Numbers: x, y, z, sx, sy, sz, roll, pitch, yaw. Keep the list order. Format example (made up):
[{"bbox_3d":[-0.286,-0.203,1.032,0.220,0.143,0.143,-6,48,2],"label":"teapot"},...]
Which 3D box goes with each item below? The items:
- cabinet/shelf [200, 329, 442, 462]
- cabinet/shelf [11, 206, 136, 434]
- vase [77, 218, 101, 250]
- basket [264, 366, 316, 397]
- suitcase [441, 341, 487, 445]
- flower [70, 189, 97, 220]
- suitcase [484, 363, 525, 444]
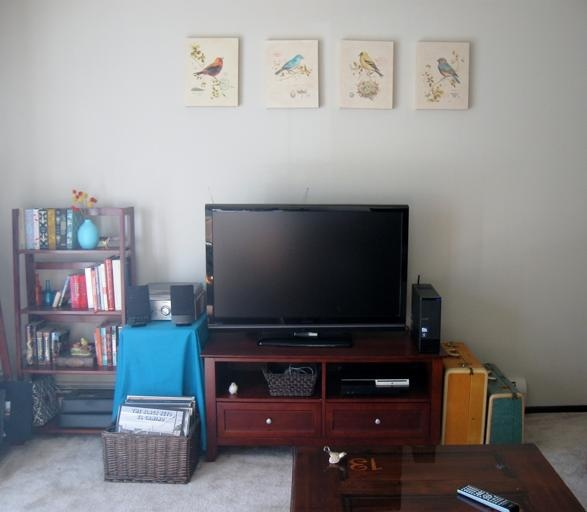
[{"bbox_3d":[0.170,0.819,3.450,1.443,0.642,0.649,0,13,11],"label":"cabinet/shelf"},{"bbox_3d":[-1.429,0.206,3.680,0.539,1.113,0.281,7,0,-22],"label":"cabinet/shelf"},{"bbox_3d":[-1.287,-0.142,3.525,0.161,0.227,0.166,0,-2,17],"label":"vase"},{"bbox_3d":[-0.009,0.751,3.400,0.250,0.115,0.176,0,-1,1],"label":"basket"},{"bbox_3d":[1.002,0.830,3.330,0.177,0.489,0.496,0,6,7],"label":"suitcase"},{"bbox_3d":[-1.355,-0.338,3.637,0.195,0.193,0.101,3,10,7],"label":"flower"},{"bbox_3d":[1.264,0.900,3.392,0.169,0.460,0.482,-1,-1,8],"label":"suitcase"}]
